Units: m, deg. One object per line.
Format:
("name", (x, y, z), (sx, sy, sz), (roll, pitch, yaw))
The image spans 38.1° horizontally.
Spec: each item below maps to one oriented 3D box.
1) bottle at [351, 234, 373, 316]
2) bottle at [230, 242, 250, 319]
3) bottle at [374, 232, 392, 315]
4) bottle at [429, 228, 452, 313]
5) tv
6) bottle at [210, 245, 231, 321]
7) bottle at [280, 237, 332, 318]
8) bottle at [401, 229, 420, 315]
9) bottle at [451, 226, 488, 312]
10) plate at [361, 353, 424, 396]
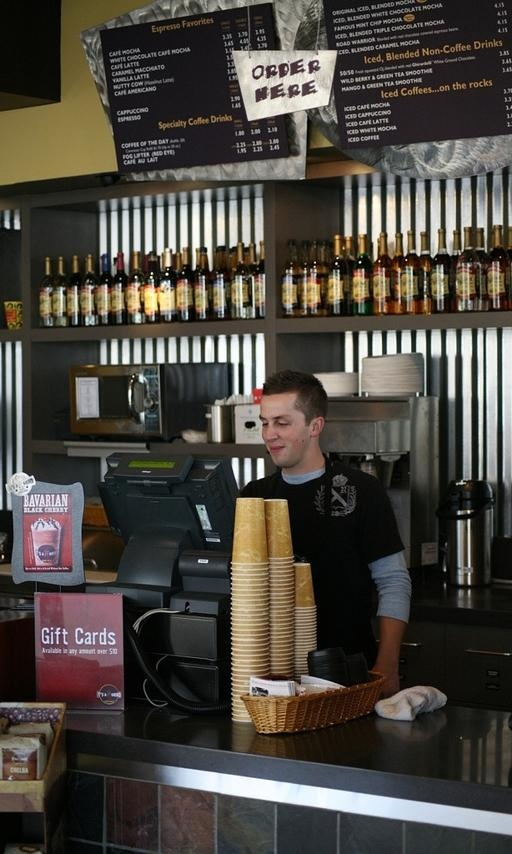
("bottle", (0.430, -0.612, 3.031), (0.081, 0.317, 0.271), (-1, 0, 9))
("bottle", (-0.071, -0.630, 3.246), (0.080, 0.324, 0.189), (-1, 0, -2))
("bottle", (0.501, -0.604, 2.962), (0.075, 0.311, 0.182), (-1, 0, 9))
("bottle", (0.712, -0.596, 2.858), (0.071, 0.310, 0.190), (-1, 0, 20))
("tv", (-0.191, 0.173, 1.696), (0.360, 0.386, 0.271), (2, 4, 24))
("bottle", (-0.160, -0.637, 3.316), (0.084, 0.325, 0.216), (-1, 0, -3))
("bottle", (0.201, -0.616, 3.083), (0.197, 0.310, 0.147), (-1, 0, 4))
("bottle", (0.602, -0.560, 2.891), (0.064, 0.285, 0.125), (-1, 0, 12))
("bottle", (0.811, -0.597, 2.827), (0.118, 0.310, 0.329), (-1, 1, 15))
("plate", (0.527, -0.189, 2.864), (0.268, 0.203, 0.150), (0, -1, 38))
